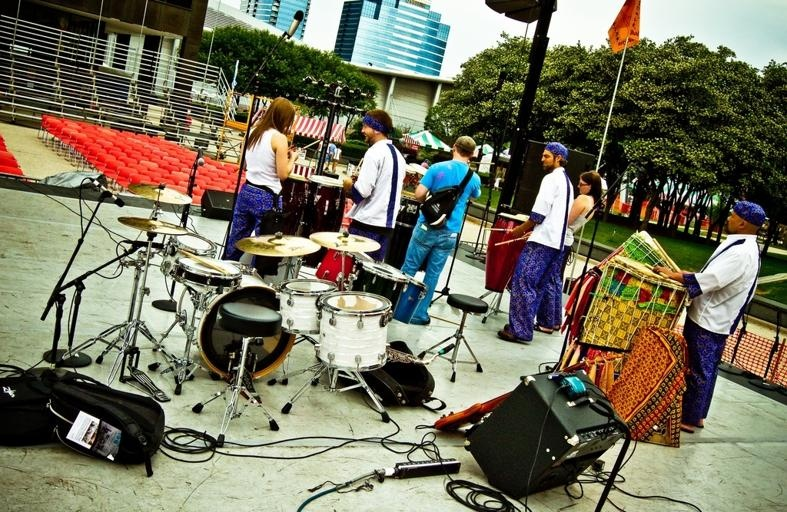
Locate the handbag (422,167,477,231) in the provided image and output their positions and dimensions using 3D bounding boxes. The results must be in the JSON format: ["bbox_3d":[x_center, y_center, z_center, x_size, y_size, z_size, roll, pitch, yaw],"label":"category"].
[{"bbox_3d":[0.734,-0.786,7.765,0.812,0.906,0.377,3,14,-32],"label":"handbag"}]

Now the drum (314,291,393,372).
[{"bbox_3d":[-0.456,0.781,5.933,0.755,0.631,0.748,6,16,13],"label":"drum"}]

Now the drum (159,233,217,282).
[{"bbox_3d":[-2.108,-0.057,5.971,0.489,0.365,0.485,14,11,-3],"label":"drum"}]

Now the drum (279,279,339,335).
[{"bbox_3d":[-0.869,0.459,5.902,0.536,0.373,0.539,2,11,0],"label":"drum"}]

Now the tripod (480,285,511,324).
[{"bbox_3d":[1.583,0.732,9.436,0.616,0.641,0.552,1,4,2],"label":"tripod"}]

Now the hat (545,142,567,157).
[{"bbox_3d":[2.168,-1.399,7.930,0.231,0.138,0.213,31,8,2],"label":"hat"}]

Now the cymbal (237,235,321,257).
[{"bbox_3d":[-1.119,-0.091,5.852,0.777,0.204,0.491,8,12,-10],"label":"cymbal"}]

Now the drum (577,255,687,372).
[{"bbox_3d":[2.552,0.569,6.688,0.880,0.930,0.701,14,15,-4],"label":"drum"}]

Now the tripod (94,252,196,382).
[{"bbox_3d":[-2.574,0.673,6.198,0.896,0.974,0.973,25,12,12],"label":"tripod"}]

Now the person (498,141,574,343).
[{"bbox_3d":[2.083,-0.146,8.162,0.687,2.734,0.976,15,12,18],"label":"person"}]

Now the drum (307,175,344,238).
[{"bbox_3d":[-0.838,-0.781,8.975,0.801,0.982,0.764,0,2,0],"label":"drum"}]

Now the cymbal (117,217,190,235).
[{"bbox_3d":[-2.286,-0.262,5.696,0.594,0.137,0.371,10,11,-4],"label":"cymbal"}]

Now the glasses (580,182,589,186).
[{"bbox_3d":[2.776,-1.055,8.667,0.089,0.028,0.067,7,0,-14],"label":"glasses"}]

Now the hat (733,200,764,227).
[{"bbox_3d":[3.797,-0.442,6.405,0.290,0.156,0.296,-7,44,-40],"label":"hat"}]

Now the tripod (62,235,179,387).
[{"bbox_3d":[-2.604,0.427,5.906,1.117,1.388,1.114,5,-3,21],"label":"tripod"}]

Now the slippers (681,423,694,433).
[{"bbox_3d":[3.270,1.913,6.664,0.201,0.078,0.067,0,18,16],"label":"slippers"}]

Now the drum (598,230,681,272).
[{"bbox_3d":[2.754,-0.035,6.690,0.572,0.308,0.558,32,5,-3],"label":"drum"}]

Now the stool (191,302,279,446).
[{"bbox_3d":[-1.405,1.055,5.454,0.784,1.130,0.795,9,3,-5],"label":"stool"}]

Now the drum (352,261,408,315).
[{"bbox_3d":[-0.127,0.325,6.514,0.529,0.523,0.537,29,10,30],"label":"drum"}]

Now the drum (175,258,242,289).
[{"bbox_3d":[-1.776,0.156,5.675,0.646,0.233,0.360,7,12,-15],"label":"drum"}]

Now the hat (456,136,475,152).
[{"bbox_3d":[0.936,-1.442,7.764,0.260,0.221,0.224,11,12,1],"label":"hat"}]

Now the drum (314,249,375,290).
[{"bbox_3d":[-0.649,0.106,7.040,0.525,0.485,0.526,11,23,-41],"label":"drum"}]

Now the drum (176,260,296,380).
[{"bbox_3d":[-1.504,0.593,6.116,1.023,1.001,0.875,9,23,-36],"label":"drum"}]
